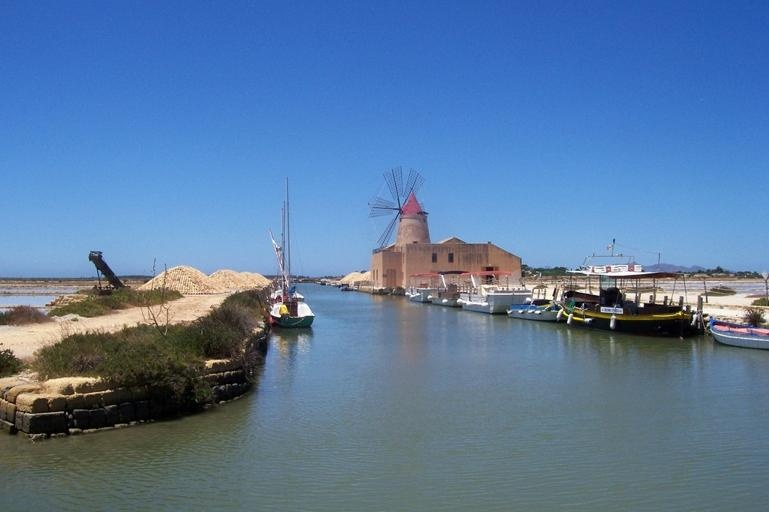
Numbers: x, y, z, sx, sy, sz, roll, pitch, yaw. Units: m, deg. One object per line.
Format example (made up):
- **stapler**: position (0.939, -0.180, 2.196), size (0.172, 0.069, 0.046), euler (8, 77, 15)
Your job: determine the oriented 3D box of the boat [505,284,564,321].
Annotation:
- **boat**: position (10.582, 3.502, 39.335), size (2.683, 1.872, 5.162), euler (2, 0, -7)
